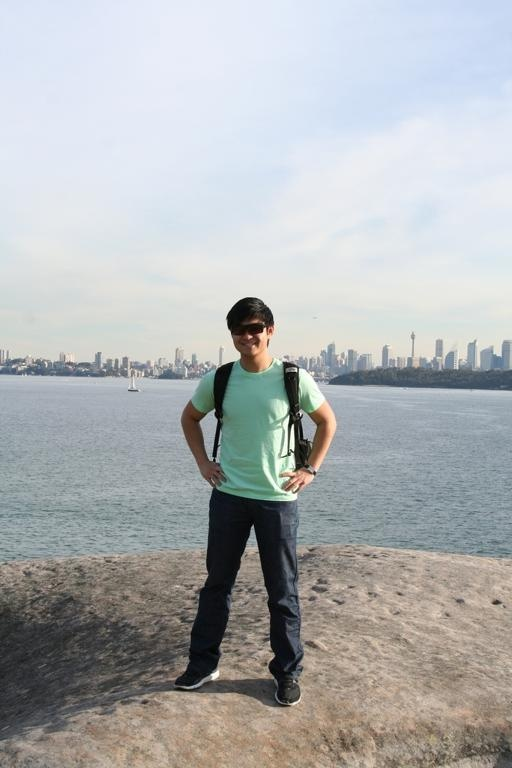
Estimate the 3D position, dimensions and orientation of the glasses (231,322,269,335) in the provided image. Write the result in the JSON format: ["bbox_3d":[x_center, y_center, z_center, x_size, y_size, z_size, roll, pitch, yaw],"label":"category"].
[{"bbox_3d":[-0.045,-0.342,4.213,0.216,0.086,0.095,2,3,-1],"label":"glasses"}]

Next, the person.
[{"bbox_3d":[-0.012,0.699,4.250,0.935,2.470,0.524,2,3,6],"label":"person"}]

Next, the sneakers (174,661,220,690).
[{"bbox_3d":[-0.374,1.841,4.305,0.104,0.116,0.278,-1,-2,44],"label":"sneakers"}]

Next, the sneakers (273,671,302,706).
[{"bbox_3d":[0.197,1.860,4.095,0.092,0.084,0.210,2,-6,-8],"label":"sneakers"}]
